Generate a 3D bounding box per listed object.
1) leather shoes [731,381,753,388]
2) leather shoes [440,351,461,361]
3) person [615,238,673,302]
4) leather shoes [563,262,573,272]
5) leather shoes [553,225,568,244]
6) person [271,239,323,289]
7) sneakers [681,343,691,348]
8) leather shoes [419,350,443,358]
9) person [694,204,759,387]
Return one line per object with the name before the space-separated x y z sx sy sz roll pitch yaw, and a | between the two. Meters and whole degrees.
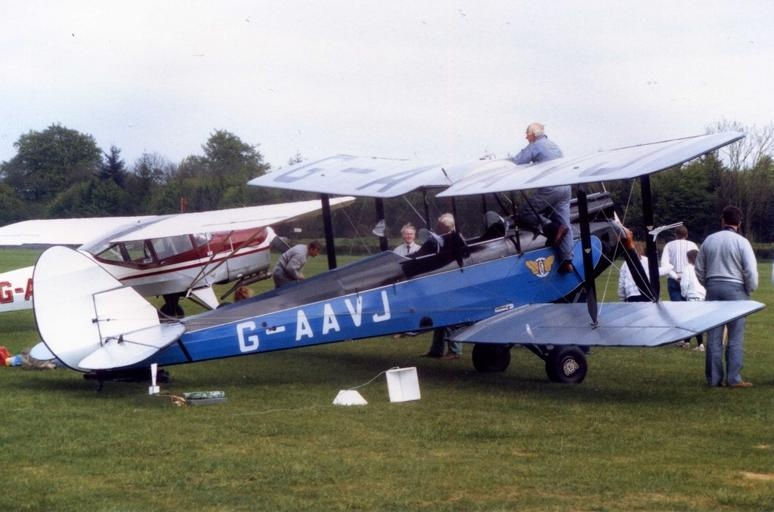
leather shoes | 5.030 1.811 14.656 0.236 0.065 0.400 3 8 35
leather shoes | 1.028 1.643 16.828 0.314 0.109 0.109 3 -4 -11
person | 4.226 0.306 17.320 0.389 0.880 0.897 5 6 -43
leather shoes | 2.785 0.166 15.993 0.173 0.156 0.068 6 10 -9
leather shoes | 2.633 -0.334 15.793 0.164 0.268 0.185 -6 37 -35
person | -1.784 0.158 20.180 0.721 0.516 1.415 5 -29 -31
sneakers | 4.990 1.504 17.360 0.097 0.033 0.113 -12 11 -33
leather shoes | 0.711 1.616 16.929 0.367 0.121 0.111 3 -6 8
person | 4.811 0.579 14.712 0.830 2.504 0.816 0 8 11
